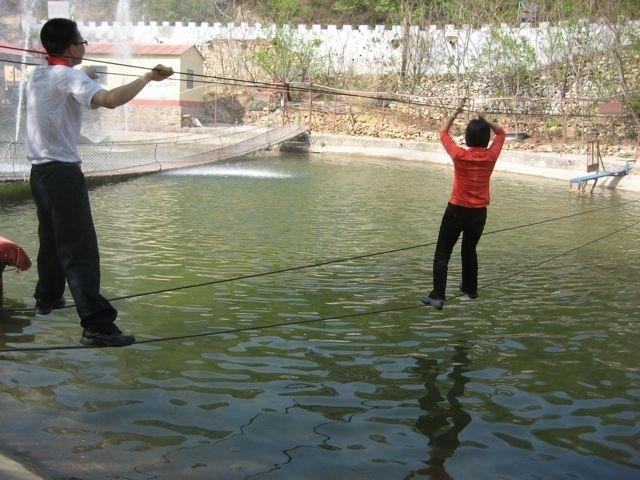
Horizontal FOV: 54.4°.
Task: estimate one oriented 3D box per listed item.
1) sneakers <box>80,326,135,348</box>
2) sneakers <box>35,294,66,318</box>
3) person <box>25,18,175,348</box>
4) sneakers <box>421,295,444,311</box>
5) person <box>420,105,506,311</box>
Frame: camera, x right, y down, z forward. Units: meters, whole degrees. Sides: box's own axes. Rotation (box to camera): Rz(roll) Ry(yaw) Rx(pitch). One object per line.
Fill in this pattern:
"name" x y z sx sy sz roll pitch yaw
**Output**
"sneakers" -1.595 0.739 4.780 0.460 0.115 0.151 1 2 -9
"sneakers" -2.337 0.558 5.418 0.139 0.098 0.311 16 20 41
"person" -1.837 -0.475 4.827 0.667 2.474 1.135 -6 18 -32
"sneakers" 1.148 0.638 6.432 0.136 0.097 0.325 -4 15 -40
"person" 1.421 -0.267 6.244 0.643 1.937 0.415 3 16 -3
